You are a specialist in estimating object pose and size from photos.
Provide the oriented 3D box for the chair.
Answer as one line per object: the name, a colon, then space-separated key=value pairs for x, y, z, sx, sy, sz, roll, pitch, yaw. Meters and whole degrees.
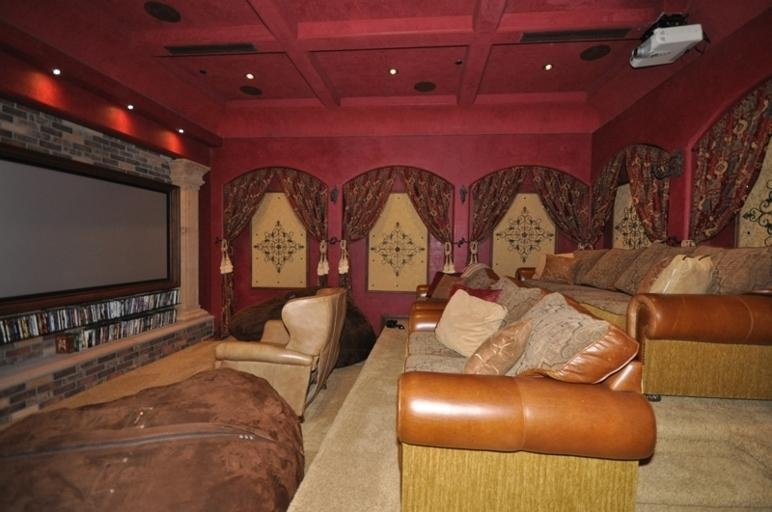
chair: x=-1.117 y=0.778 z=5.686 sx=1.230 sy=1.258 sz=1.507 roll=10 pitch=22 yaw=13

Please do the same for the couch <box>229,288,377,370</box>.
couch: x=-1.028 y=0.883 z=6.472 sx=1.421 sy=0.487 sz=1.024 roll=11 pitch=3 yaw=18

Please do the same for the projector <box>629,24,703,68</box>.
projector: x=2.799 y=-2.080 z=5.175 sx=0.563 sy=0.208 sz=0.428 roll=-4 pitch=-15 yaw=43

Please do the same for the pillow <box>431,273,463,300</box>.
pillow: x=0.785 y=0.416 z=6.840 sx=0.325 sy=0.358 sz=0.108 roll=3 pitch=-30 yaw=36

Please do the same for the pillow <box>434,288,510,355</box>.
pillow: x=0.829 y=0.622 z=4.872 sx=0.244 sy=0.366 sz=0.497 roll=13 pitch=7 yaw=-29
